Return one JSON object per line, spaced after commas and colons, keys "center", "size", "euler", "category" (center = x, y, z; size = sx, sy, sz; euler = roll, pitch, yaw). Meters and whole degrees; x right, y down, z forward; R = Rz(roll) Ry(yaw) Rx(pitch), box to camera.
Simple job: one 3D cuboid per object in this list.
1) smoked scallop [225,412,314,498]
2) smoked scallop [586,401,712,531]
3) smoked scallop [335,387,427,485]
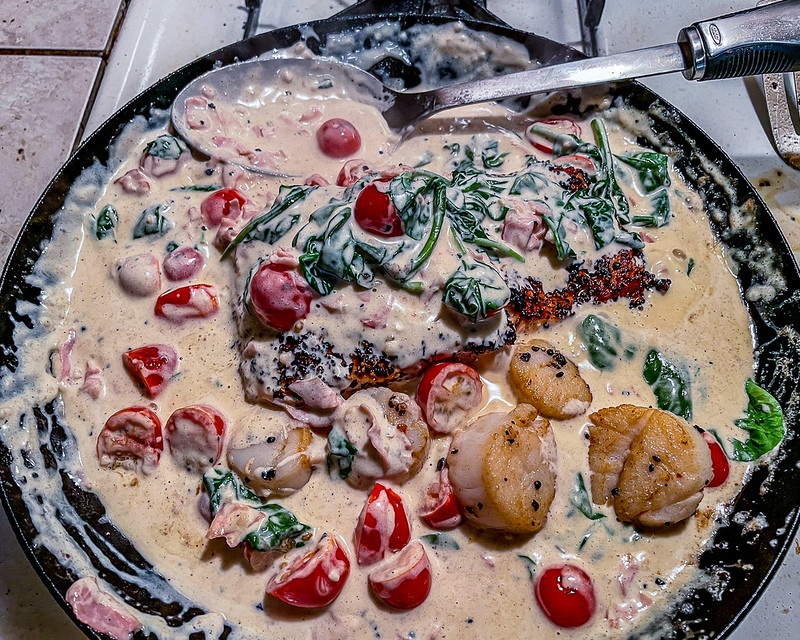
{"center": [-0.328, 0.337, 3.028], "size": [0.206, 0.070, 0.189], "euler": [14, 86, 1], "category": "smoked scallop"}
{"center": [0.643, 0.380, 3.028], "size": [0.300, 0.127, 0.314], "euler": [1, 86, 0], "category": "smoked scallop"}
{"center": [-0.048, 0.297, 2.964], "size": [0.206, 0.085, 0.242], "euler": [16, 86, 1], "category": "smoked scallop"}
